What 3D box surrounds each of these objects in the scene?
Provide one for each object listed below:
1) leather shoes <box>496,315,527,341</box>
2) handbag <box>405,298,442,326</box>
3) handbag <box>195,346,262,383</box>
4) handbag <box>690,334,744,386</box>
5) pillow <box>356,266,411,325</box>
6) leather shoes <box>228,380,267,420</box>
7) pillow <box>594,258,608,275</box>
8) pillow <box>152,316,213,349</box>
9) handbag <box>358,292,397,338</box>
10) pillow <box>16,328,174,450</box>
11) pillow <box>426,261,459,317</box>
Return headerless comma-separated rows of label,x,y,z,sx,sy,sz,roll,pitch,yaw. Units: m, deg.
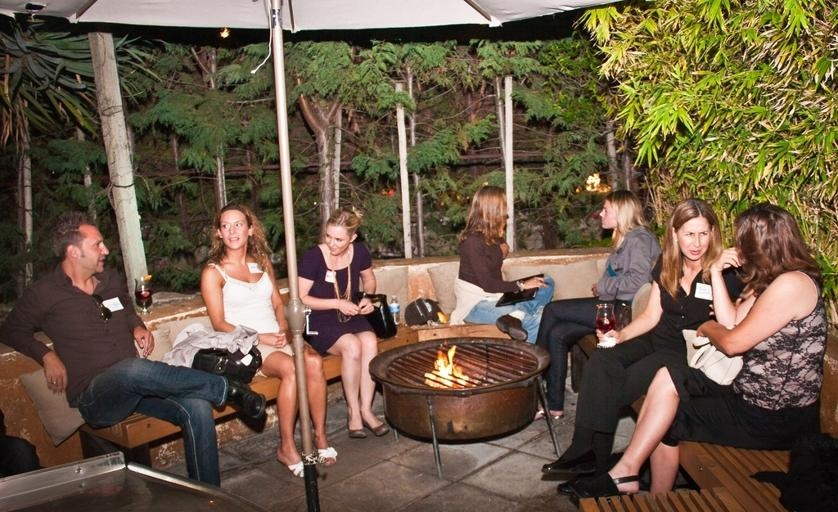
leather shoes,0.847,0.649,5.140,0.177,0.078,0.172,33,7,14
handbag,0.047,0.581,5.992,0.293,0.295,0.316,-25,3,21
handbag,-1.474,0.835,4.357,0.343,0.158,0.321,10,4,-22
handbag,2.043,0.733,3.947,0.126,0.302,0.303,-8,32,-34
pillow,-0.370,0.406,5.662,0.585,0.671,0.265,3,-15,-33
leather shoes,-1.286,1.056,4.199,0.314,0.221,0.151,7,14,37
pillow,2.070,0.110,6.354,0.214,0.204,0.083,6,-14,-27
pillow,-2.111,0.620,4.952,0.370,0.108,0.358,-10,17,-29
handbag,-0.406,0.562,5.248,0.187,0.377,0.405,-39,23,-27
pillow,-2.551,0.994,4.455,0.242,0.825,0.829,10,36,44
pillow,0.272,0.363,6.303,0.485,0.480,0.197,1,8,40
